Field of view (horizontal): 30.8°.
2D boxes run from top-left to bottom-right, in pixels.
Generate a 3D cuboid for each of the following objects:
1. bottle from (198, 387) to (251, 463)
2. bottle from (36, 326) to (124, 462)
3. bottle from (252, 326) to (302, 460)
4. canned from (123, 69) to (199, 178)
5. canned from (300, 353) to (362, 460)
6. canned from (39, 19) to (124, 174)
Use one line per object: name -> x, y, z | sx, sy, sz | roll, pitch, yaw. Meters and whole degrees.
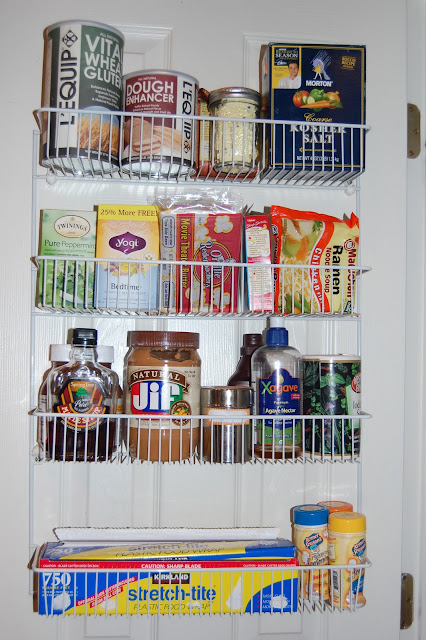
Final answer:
bottle -> 0.005, 0.153, 1.094 | 0.091, 0.106, 0.098 | 0, -7, -3
bottle -> -0.200, 0.109, 1.153 | 0.120, 0.190, 0.178 | 1, -2, -9
bottle -> 0.093, 0.105, 1.131 | 0.076, 0.190, 0.079 | 1, -2, 0
canned -> -0.072, -0.288, 1.185 | 0.134, 0.139, 0.130 | 2, -2, -24
canned -> 0.177, 0.135, 1.167 | 0.085, 0.163, 0.138 | 1, -2, 6
canned -> -0.199, -0.320, 1.163 | 0.121, 0.197, 0.186 | 1, -2, -12
